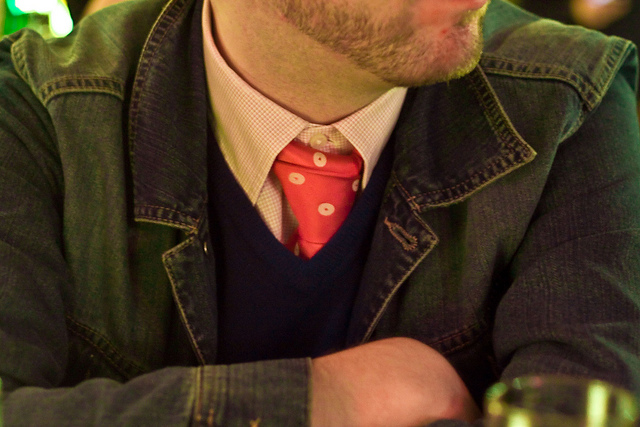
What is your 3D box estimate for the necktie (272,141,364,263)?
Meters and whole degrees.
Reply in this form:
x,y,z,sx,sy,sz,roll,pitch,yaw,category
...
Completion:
x,y,z,sx,sy,sz,roll,pitch,yaw,category
-0.008,-0.047,1.492,0.247,0.261,0.094,11,11,6,necktie
